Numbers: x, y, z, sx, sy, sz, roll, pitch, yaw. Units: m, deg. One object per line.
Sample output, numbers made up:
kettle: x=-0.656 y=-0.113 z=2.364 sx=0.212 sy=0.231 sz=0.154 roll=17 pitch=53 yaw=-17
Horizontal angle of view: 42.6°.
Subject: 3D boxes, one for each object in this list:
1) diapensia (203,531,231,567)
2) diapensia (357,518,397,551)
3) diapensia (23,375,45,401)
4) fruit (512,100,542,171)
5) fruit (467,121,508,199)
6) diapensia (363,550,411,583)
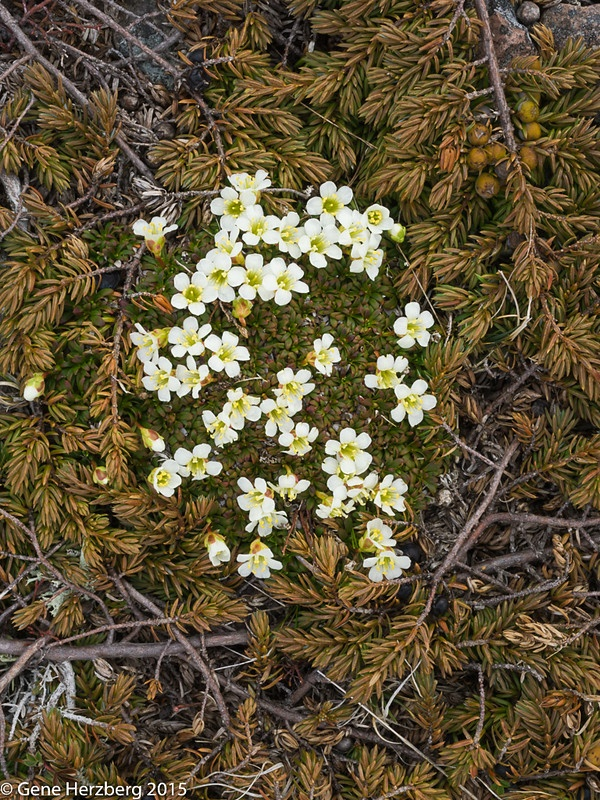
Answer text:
diapensia: x=-0.364 y=0.690 z=3.493 sx=0.110 sy=0.181 sz=0.082 roll=-14 pitch=40 yaw=14
diapensia: x=0.342 y=0.602 z=3.505 sx=0.176 sy=0.243 sz=0.139 roll=-15 pitch=86 yaw=0
diapensia: x=-1.213 y=-0.048 z=3.521 sx=0.094 sy=0.088 sz=0.122 roll=21 pitch=94 yaw=6
fruit: x=1.040 y=-1.210 z=3.531 sx=0.121 sy=0.126 sz=0.305 roll=0 pitch=85 yaw=-13
fruit: x=0.860 y=-1.091 z=3.554 sx=0.191 sy=0.332 sz=0.131 roll=-13 pitch=57 yaw=5
diapensia: x=0.385 y=0.730 z=3.391 sx=0.191 sy=0.176 sz=0.087 roll=-2 pitch=43 yaw=-6
